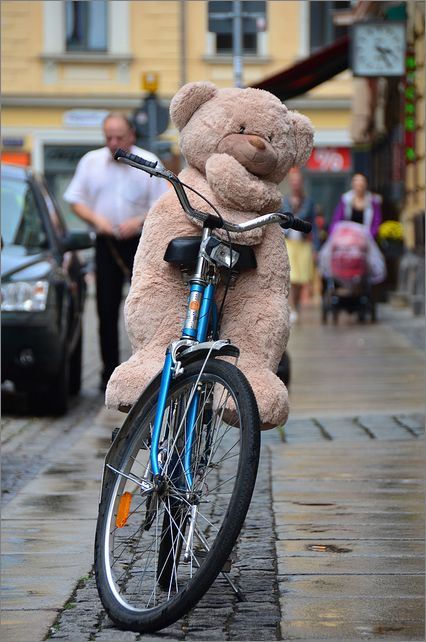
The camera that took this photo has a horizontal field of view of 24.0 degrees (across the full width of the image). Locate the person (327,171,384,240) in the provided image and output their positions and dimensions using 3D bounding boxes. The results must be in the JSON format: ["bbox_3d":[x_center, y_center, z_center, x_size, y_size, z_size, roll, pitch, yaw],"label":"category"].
[{"bbox_3d":[1.576,-1.259,10.936,0.487,0.774,0.538,-5,16,-9],"label":"person"}]

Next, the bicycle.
[{"bbox_3d":[-0.046,0.132,2.463,0.495,1.085,1.045,-2,4,-1],"label":"bicycle"}]

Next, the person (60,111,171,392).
[{"bbox_3d":[-0.606,-0.438,6.593,0.742,1.750,0.538,-2,18,-2],"label":"person"}]

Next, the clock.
[{"bbox_3d":[0.992,-1.679,6.076,0.304,0.409,0.719,-2,4,6],"label":"clock"}]

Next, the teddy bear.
[{"bbox_3d":[0.007,-0.188,2.556,0.634,0.864,0.511,-1,9,-28],"label":"teddy bear"}]
